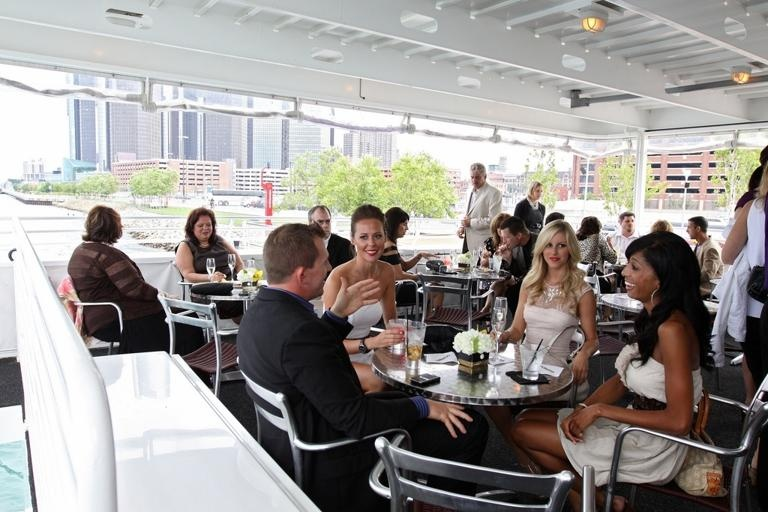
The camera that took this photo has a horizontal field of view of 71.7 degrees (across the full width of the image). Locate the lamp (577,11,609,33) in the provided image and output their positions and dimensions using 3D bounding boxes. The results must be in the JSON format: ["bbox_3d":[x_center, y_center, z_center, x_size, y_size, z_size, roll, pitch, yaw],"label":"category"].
[{"bbox_3d":[1.903,-2.135,4.829,0.221,0.188,0.184,-5,8,-32],"label":"lamp"}]

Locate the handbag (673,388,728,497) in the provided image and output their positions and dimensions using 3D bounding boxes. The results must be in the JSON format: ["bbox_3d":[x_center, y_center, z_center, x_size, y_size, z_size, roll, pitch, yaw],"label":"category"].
[{"bbox_3d":[1.469,0.855,2.433,0.194,0.433,0.301,5,9,37],"label":"handbag"}]

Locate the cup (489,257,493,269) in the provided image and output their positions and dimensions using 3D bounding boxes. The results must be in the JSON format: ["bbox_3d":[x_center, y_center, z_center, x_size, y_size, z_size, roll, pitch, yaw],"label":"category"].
[{"bbox_3d":[1.229,0.075,6.093,0.037,0.109,0.085,-2,-8,-1],"label":"cup"}]
